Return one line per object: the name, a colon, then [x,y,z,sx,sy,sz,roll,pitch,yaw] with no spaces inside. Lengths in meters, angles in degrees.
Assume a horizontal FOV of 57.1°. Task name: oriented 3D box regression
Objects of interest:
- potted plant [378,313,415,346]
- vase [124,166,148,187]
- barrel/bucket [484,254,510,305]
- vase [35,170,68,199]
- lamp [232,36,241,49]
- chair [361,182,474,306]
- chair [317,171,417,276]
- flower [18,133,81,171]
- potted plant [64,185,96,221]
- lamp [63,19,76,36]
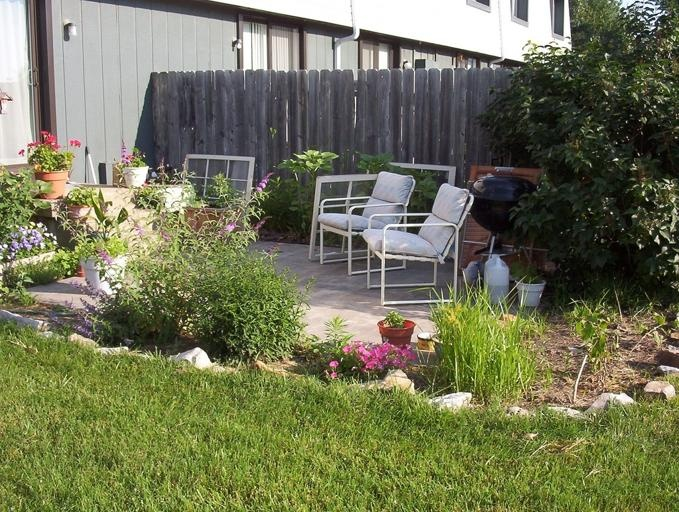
potted plant: [0.448,0.576,4.900,0.239,0.245,0.240,2,2,-15]
vase: [-2.659,-1.040,8.166,0.278,0.247,0.299,-4,13,-24]
barrel/bucket: [1.512,0.240,6.010,0.231,0.475,0.405,4,12,14]
vase: [-3.310,-0.828,7.126,0.335,0.305,0.367,0,3,-2]
lamp: [-1.887,-3.880,11.409,0.171,0.199,0.125,-2,12,-14]
chair: [0.783,-0.160,6.561,0.953,1.275,0.942,1,10,-3]
chair: [0.317,-0.430,7.568,0.912,1.257,0.858,-2,9,-27]
flower: [-3.428,-1.228,7.338,0.447,0.437,0.505,-8,15,-37]
potted plant: [-2.928,-0.593,7.034,0.385,0.448,0.362,3,3,-31]
lamp: [-3.970,-3.373,9.195,0.155,0.245,0.222,1,3,-1]
